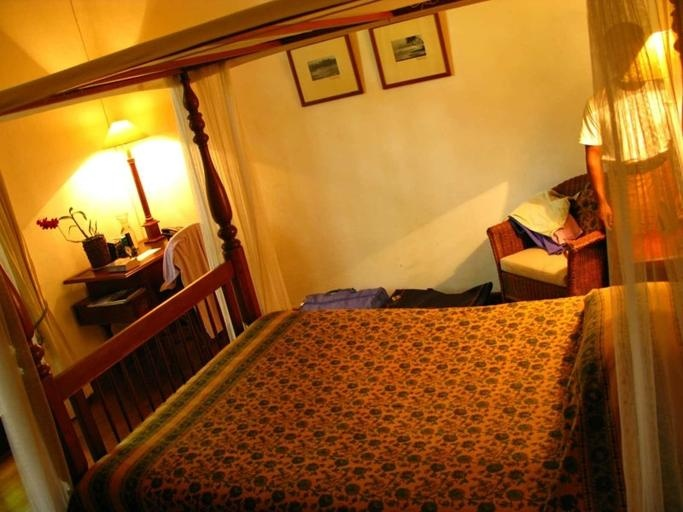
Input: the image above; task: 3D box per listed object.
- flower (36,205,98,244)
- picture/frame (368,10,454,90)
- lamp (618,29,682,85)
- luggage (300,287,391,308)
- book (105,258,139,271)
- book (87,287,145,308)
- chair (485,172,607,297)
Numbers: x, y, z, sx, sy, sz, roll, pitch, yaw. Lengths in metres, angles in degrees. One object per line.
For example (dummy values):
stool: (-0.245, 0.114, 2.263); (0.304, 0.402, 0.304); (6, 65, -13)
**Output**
flower: (-2.380, -0.296, 4.579); (0.399, 0.220, 0.399); (-33, -30, 35)
picture/frame: (0.596, -1.679, 4.167); (0.828, 0.672, 0.112); (-4, 29, 26)
lamp: (0.831, -0.529, 1.386); (0.139, 0.130, 0.045); (-7, 16, 20)
luggage: (0.035, 0.406, 4.819); (0.499, 0.143, 0.340); (-2, 6, 21)
book: (-1.902, 0.078, 4.426); (0.349, 0.082, 0.176); (-4, 16, 29)
book: (-1.896, 0.355, 4.358); (0.266, 0.060, 0.260); (0, 17, 18)
chair: (1.703, -0.072, 3.976); (0.883, 0.938, 0.872); (-15, 17, -14)
